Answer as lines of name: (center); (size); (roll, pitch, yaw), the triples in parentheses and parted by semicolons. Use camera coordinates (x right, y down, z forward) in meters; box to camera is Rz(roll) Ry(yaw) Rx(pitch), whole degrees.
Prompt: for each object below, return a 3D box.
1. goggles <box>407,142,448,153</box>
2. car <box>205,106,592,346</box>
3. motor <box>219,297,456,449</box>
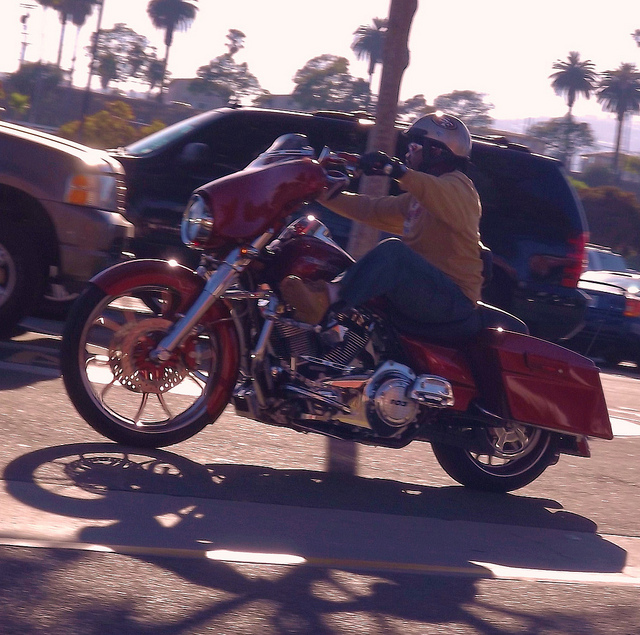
goggles: (0.604, -0.971, 4.123); (0.163, 0.034, 0.098); (15, 7, -12)
car: (1.324, -1.169, 8.191); (4.937, 1.719, 2.396); (8, 2, -3)
motor: (0.163, 0.283, 3.672); (1.063, 0.745, 0.269); (12, 5, -18)
